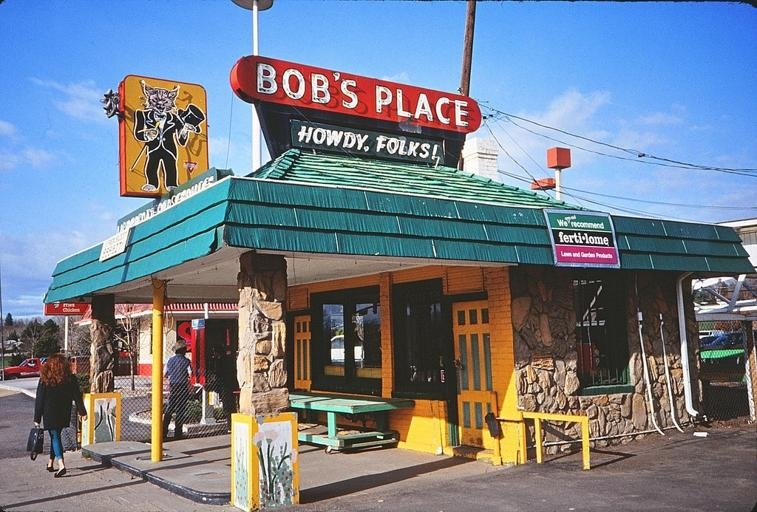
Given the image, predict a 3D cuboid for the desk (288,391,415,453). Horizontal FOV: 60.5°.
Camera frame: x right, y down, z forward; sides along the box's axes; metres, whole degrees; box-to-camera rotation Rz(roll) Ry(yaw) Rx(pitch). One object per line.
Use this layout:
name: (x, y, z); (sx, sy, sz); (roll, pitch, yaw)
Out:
desk: (-0.852, 4.032, 15.978); (2.179, 1.256, 2.867); (-1, -2, -32)

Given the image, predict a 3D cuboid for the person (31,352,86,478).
person: (-6.860, 3.353, 14.008); (0.932, 2.558, 1.216); (-1, -2, -25)

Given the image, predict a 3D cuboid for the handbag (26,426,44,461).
handbag: (-7.170, 3.874, 13.565); (0.276, 0.741, 0.411); (-1, -2, -30)

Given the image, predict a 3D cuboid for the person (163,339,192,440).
person: (-5.342, 3.546, 17.178); (0.674, 2.564, 0.633); (-2, -2, -18)

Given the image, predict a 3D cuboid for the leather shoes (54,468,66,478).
leather shoes: (-6.641, 4.476, 13.550); (0.220, 0.203, 0.279); (-1, -2, -30)
